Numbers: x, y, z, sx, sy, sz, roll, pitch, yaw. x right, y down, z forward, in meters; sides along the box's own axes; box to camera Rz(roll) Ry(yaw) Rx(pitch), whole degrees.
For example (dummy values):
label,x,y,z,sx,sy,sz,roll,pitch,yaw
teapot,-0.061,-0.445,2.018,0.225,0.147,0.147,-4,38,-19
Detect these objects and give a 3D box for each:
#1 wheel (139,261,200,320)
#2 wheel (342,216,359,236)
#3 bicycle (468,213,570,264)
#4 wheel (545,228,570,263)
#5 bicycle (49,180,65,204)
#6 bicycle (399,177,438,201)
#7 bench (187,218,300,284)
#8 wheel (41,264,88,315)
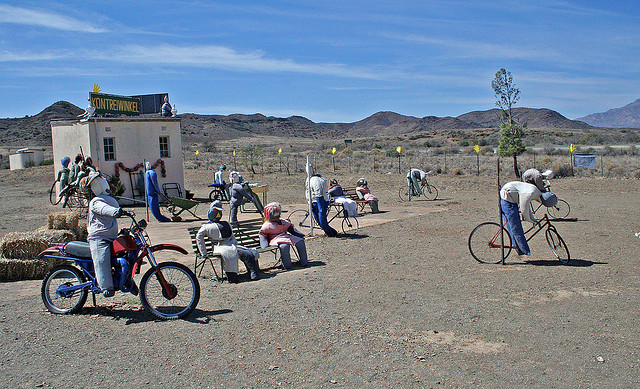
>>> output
label,x,y,z,sx,sy,sz,roll,pitch,yaw
wheel,-3.356,1.912,11.803,1.175,1.185,1.761,-5,9,-19
wheel,1.123,1.110,18.579,0.151,0.563,0.620,-6,5,-31
bicycle,5.317,1.091,14.531,2.578,1.495,1.218,0,9,10
wheel,6.411,1.411,14.451,0.167,0.732,0.813,-20,-33,-2
bicycle,-12.874,-0.090,26.331,1.035,1.257,0.257,-1,-19,-1
bicycle,4.925,-0.309,25.927,1.002,1.220,2.099,21,-11,-10
bench,-2.149,1.406,14.244,0.906,1.053,2.616,14,11,36
wheel,-5.625,2.082,11.836,1.164,1.101,1.154,2,-8,0
